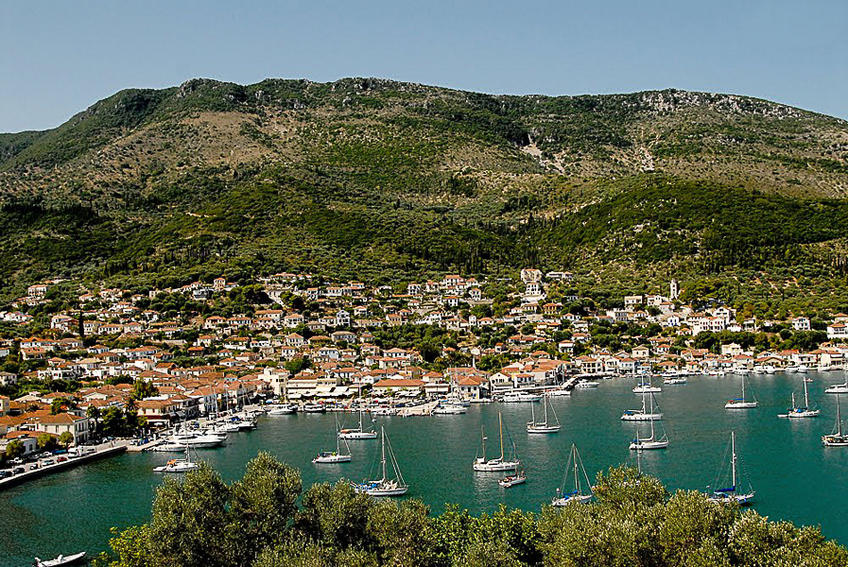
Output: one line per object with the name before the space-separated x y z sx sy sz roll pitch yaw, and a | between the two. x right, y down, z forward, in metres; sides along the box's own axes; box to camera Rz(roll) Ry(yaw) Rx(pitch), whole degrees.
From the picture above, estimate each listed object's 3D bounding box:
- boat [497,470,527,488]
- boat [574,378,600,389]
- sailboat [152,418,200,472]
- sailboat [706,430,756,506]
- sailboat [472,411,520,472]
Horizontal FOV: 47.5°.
boat | 11.614 25.878 126.818 2.843 1.030 1.809 -14 16 -10
boat | 29.733 18.183 176.212 3.361 1.176 1.918 0 1 6
sailboat | -36.245 24.126 139.662 5.072 2.373 14.637 -3 8 -14
sailboat | 39.133 23.844 122.370 5.974 7.546 1.691 3 -8 -17
sailboat | 9.339 21.799 132.109 7.065 7.526 1.625 -4 -2 1
